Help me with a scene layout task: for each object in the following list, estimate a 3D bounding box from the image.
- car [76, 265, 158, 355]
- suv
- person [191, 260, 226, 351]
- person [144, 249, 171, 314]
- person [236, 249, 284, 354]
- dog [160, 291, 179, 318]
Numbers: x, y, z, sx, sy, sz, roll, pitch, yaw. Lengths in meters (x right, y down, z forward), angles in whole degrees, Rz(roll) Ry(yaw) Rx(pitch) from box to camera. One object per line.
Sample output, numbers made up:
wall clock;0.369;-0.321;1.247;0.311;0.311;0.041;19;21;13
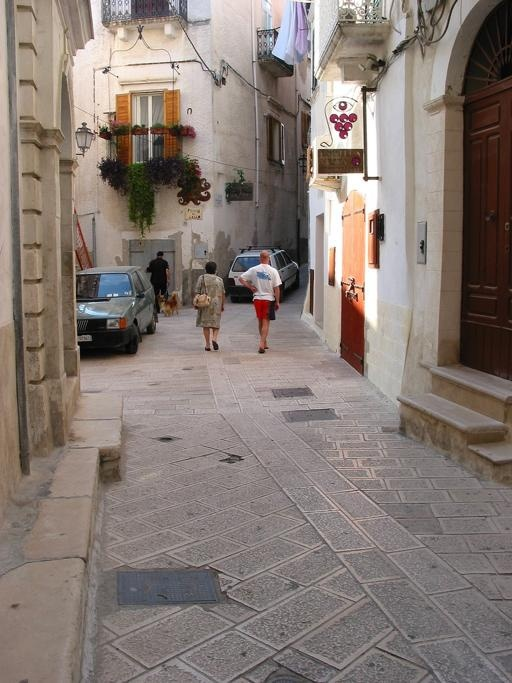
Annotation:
car;-2.920;-0.748;12.068;0.946;1.105;2.235;-1;8;2
suv;0.309;-2.680;22.472;1.437;2.011;3.352;2;24;20
person;-1.021;-0.777;12.235;0.601;1.896;1.789;-1;1;-5
person;-3.163;-1.880;18.770;0.523;2.121;0.492;0;-22;-17
person;0.092;-0.822;11.333;0.647;2.010;0.765;4;25;8
dog;-2.875;-1.222;18.897;0.565;0.818;1.035;-1;2;-11
